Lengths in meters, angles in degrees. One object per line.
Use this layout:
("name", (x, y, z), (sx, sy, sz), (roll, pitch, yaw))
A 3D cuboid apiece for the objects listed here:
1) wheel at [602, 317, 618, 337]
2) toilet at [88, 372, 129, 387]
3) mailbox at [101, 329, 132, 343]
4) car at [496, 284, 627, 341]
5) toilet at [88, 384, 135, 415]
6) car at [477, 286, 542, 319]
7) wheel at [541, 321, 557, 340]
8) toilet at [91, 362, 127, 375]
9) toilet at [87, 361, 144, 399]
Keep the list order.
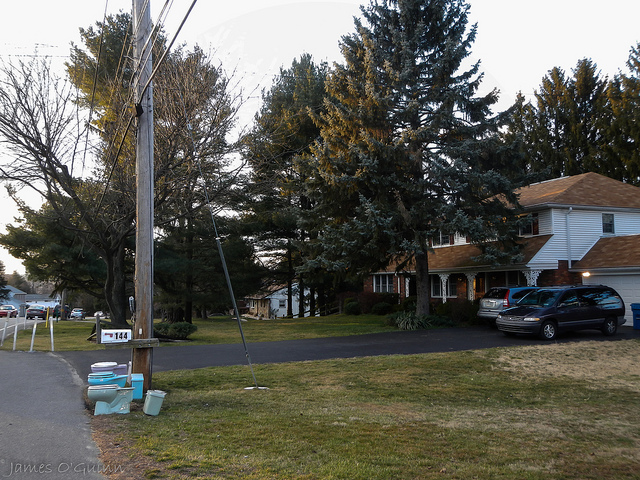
("wheel", (12.181, 3.669, 21.661), (0.733, 0.791, 0.263), (1, 1, -34))
("toilet", (-4.270, 2.788, 10.326), (0.588, 0.228, 0.390), (5, -11, -22))
("mailbox", (-4.315, 2.048, 10.895), (0.589, 0.267, 0.251), (2, -2, -27))
("car", (10.052, 2.990, 21.309), (5.199, 2.086, 1.348), (2, -2, -22))
("toilet", (-4.160, 3.178, 10.362), (0.891, 0.628, 0.652), (3, -3, -15))
("car", (8.918, 2.858, 23.962), (2.111, 1.012, 1.177), (-5, 0, -27))
("wheel", (9.014, 3.571, 20.295), (0.707, 0.772, 0.241), (0, -1, -19))
("toilet", (-4.335, 2.624, 10.408), (0.519, 0.222, 0.475), (0, -3, -11))
("toilet", (-4.343, 3.001, 10.825), (1.071, 0.685, 0.747), (7, -10, -25))
